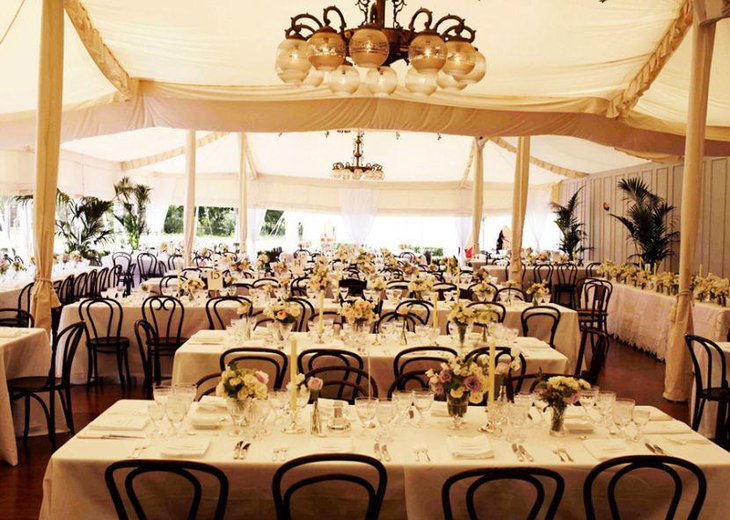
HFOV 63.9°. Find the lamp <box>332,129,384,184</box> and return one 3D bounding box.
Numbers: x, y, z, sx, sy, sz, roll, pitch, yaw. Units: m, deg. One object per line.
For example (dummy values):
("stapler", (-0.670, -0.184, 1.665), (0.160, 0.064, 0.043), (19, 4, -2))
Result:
("lamp", (-0.158, -2.522, 14.134), (1.196, 1.330, 1.159), (3, -1, -28))
